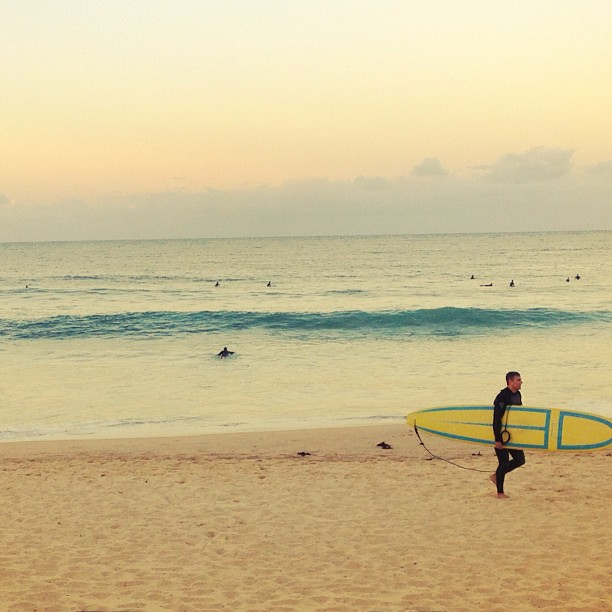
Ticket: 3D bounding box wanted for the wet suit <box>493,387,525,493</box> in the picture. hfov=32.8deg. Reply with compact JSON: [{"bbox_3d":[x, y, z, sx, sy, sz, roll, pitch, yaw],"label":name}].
[{"bbox_3d":[3.169,2.134,16.286,0.464,1.787,0.509,-1,12,8],"label":"wet suit"}]
